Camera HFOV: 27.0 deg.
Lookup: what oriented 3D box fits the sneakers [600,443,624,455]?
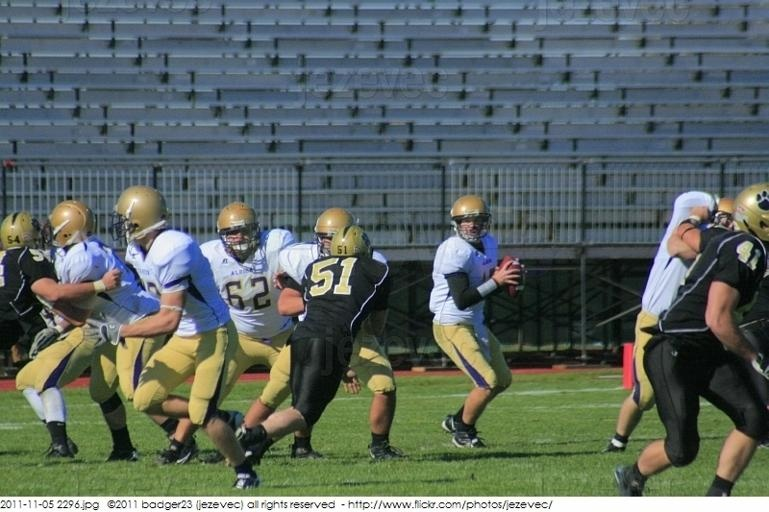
[{"bbox_3d":[3.365,2.817,23.465,0.360,0.146,0.124,13,-11,19],"label":"sneakers"}]

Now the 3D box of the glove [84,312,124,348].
[{"bbox_3d":[-3.973,1.048,22.744,0.517,0.232,0.626,19,0,-4],"label":"glove"}]

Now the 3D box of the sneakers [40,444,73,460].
[{"bbox_3d":[-4.771,2.844,23.396,0.359,0.141,0.205,2,1,33],"label":"sneakers"}]

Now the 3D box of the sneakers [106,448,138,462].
[{"bbox_3d":[-3.805,2.897,23.286,0.527,0.191,0.163,1,-3,-6],"label":"sneakers"}]

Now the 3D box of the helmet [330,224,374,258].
[{"bbox_3d":[-0.490,-0.196,22.770,0.444,0.461,0.520,3,33,20],"label":"helmet"}]

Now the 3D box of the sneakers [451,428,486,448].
[{"bbox_3d":[1.195,2.713,23.853,0.544,0.212,0.202,10,-3,15],"label":"sneakers"}]

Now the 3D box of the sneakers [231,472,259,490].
[{"bbox_3d":[-1.914,3.067,22.022,0.353,0.229,0.102,-1,10,-5],"label":"sneakers"}]

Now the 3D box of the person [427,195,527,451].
[{"bbox_3d":[1.322,0.953,23.990,1.225,3.632,1.211,-1,10,-4],"label":"person"}]
